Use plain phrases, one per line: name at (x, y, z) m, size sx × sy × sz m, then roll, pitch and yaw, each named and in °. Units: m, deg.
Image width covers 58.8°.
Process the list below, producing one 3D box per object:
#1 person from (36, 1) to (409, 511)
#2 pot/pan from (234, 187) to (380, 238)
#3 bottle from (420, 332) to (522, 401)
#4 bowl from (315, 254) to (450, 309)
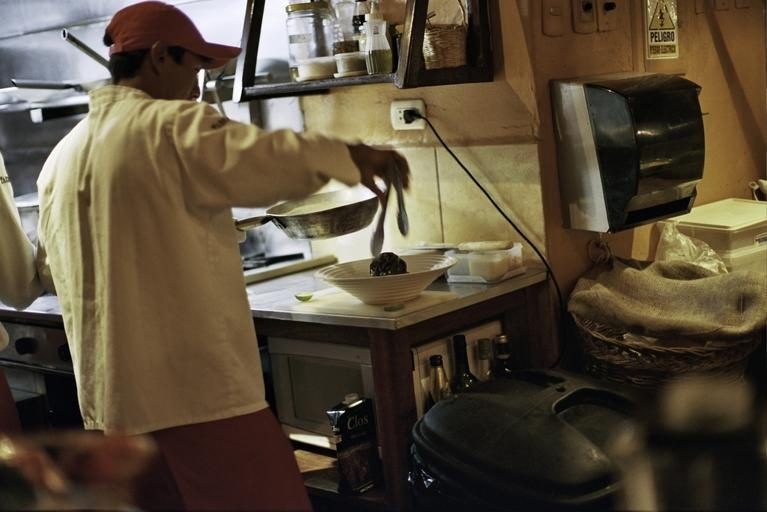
person at (-0.489, -0.007, 1.625) m, size 0.902 × 1.177 × 0.487 m, roll -2°, pitch 14°, yaw 17°
pot/pan at (-0.220, -0.129, 2.151) m, size 0.353 × 0.058 × 0.225 m, roll -13°, pitch 11°, yaw 6°
bottle at (0.275, 0.368, 2.247) m, size 0.216 × 0.207 × 0.074 m, roll -9°, pitch 11°, yaw -35°
bowl at (0.007, 0.086, 2.243) m, size 0.249 × 0.068 × 0.256 m, roll -9°, pitch 9°, yaw 1°
